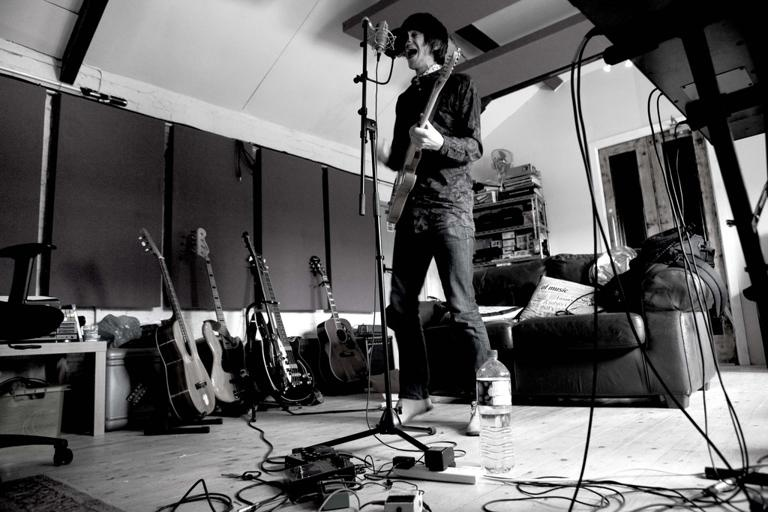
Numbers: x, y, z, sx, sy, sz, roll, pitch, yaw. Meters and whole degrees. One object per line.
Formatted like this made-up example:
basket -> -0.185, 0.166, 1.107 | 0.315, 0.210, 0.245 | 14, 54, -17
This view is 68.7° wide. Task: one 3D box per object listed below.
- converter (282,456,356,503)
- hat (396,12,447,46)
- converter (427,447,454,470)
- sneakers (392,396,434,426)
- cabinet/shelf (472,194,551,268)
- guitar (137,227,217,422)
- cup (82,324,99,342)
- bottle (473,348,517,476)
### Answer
converter -> -0.258, 0.869, 2.253 | 0.192, 0.087, 0.142 | -5, 0, -24
hat -> 0.227, -1.219, 3.069 | 0.210, 0.078, 0.166 | 17, -14, -38
converter -> 0.235, 0.835, 2.330 | 0.071, 0.097, 0.132 | -7, -11, 32
sneakers -> 0.149, 0.835, 3.075 | 0.281, 0.126, 0.092 | 5, -14, -41
cabinet/shelf -> 1.437, -0.273, 6.281 | 0.788, 0.772, 0.285 | -2, -4, 35
guitar -> -1.418, 0.481, 3.867 | 0.431, 1.269, 0.339 | -8, -8, 6
cup -> -1.921, 0.505, 3.691 | 0.111, 0.125, 0.115 | -1, -8, 0
bottle -> 0.496, 0.705, 2.512 | 0.157, 0.415, 0.400 | -9, -8, 13
